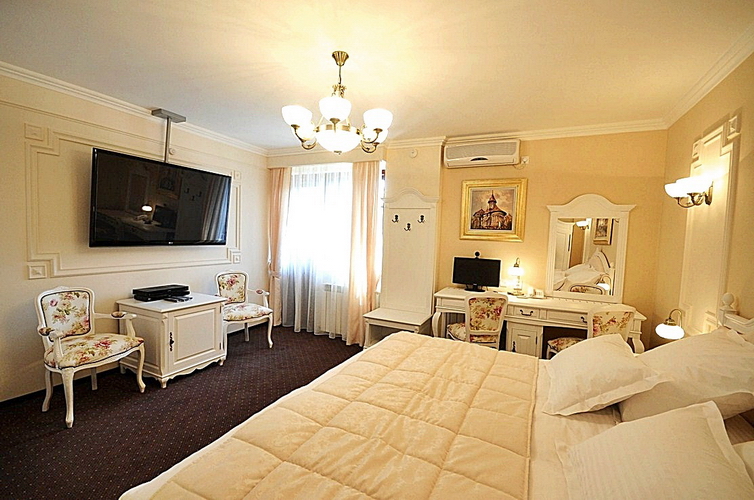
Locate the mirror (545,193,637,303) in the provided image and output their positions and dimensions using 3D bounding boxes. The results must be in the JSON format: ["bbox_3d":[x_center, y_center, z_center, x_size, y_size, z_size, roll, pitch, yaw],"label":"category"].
[{"bbox_3d":[2.591,-0.028,5.664,1.280,1.731,0.092,3,3,19],"label":"mirror"}]

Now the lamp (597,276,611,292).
[{"bbox_3d":[2.694,0.399,5.646,0.177,0.216,0.129,6,7,23],"label":"lamp"}]

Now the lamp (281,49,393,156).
[{"bbox_3d":[-0.300,-1.397,4.521,1.019,0.906,1.075,4,5,17],"label":"lamp"}]

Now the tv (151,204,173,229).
[{"bbox_3d":[-2.605,-0.417,5.770,0.179,0.274,0.291,10,-1,2],"label":"tv"}]

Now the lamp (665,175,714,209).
[{"bbox_3d":[3.026,-0.558,4.691,0.332,0.275,0.556,1,1,15],"label":"lamp"}]

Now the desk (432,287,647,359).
[{"bbox_3d":[1.875,0.989,5.875,2.333,0.908,0.793,5,12,23],"label":"desk"}]

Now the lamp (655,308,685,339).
[{"bbox_3d":[2.906,0.699,4.746,0.321,0.344,0.345,-2,-10,39],"label":"lamp"}]

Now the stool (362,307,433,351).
[{"bbox_3d":[0.280,0.912,6.218,0.828,0.566,0.529,1,1,27],"label":"stool"}]

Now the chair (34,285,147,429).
[{"bbox_3d":[-3.022,1.025,4.972,0.792,1.272,0.953,2,7,8],"label":"chair"}]

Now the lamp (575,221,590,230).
[{"bbox_3d":[2.460,-0.295,5.688,0.118,0.073,0.103,3,-3,-24],"label":"lamp"}]

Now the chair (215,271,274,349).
[{"bbox_3d":[-1.811,0.800,6.435,0.771,0.976,0.695,-2,7,-30],"label":"chair"}]

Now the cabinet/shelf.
[{"bbox_3d":[-2.454,1.033,5.772,0.965,0.862,1.074,6,7,40],"label":"cabinet/shelf"}]

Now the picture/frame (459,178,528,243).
[{"bbox_3d":[1.530,-0.521,6.100,0.865,0.843,0.065,2,2,25],"label":"picture/frame"}]
